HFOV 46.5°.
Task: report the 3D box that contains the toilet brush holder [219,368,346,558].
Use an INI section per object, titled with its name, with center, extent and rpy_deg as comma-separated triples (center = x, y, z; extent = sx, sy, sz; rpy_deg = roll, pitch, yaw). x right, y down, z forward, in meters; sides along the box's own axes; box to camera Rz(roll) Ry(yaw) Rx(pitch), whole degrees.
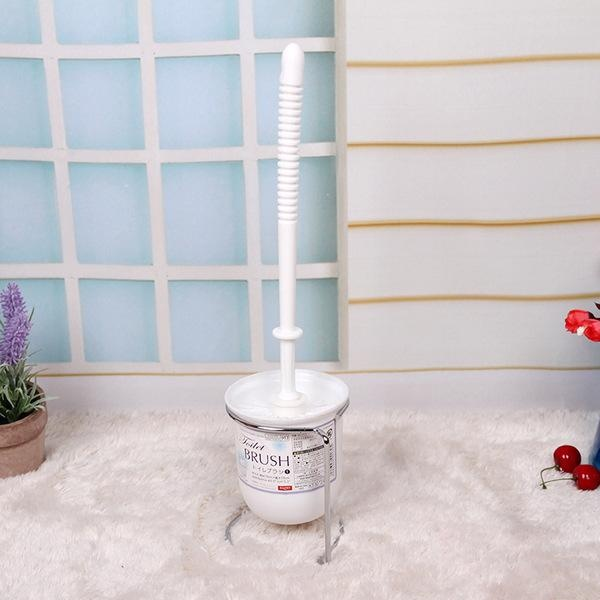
[toilet brush holder]
center = -0.018, 0.271, 1.212
extent = 0.209, 0.295, 0.197
rpy_deg = 0, 19, 14

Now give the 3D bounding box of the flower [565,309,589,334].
[flower]
center = 0.518, 0.040, 1.296
extent = 0.018, 0.043, 0.044
rpy_deg = 5, -18, -43
